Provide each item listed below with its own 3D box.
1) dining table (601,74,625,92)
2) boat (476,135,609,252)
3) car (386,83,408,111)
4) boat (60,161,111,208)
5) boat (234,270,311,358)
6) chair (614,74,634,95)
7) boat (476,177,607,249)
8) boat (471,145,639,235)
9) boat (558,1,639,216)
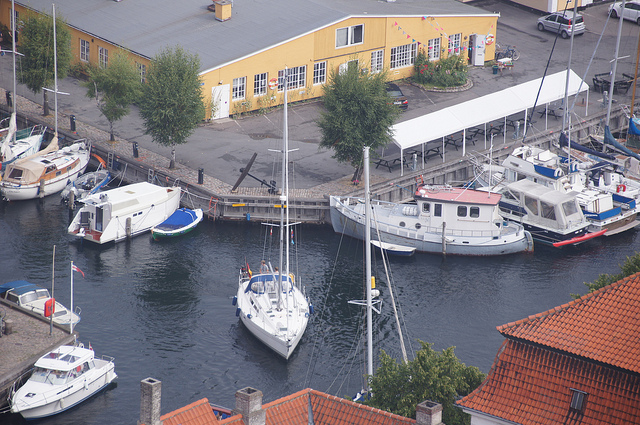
[{"bbox_3d":[28.186,-12.598,139.446,1.430,0.417,1.563,-15,31,-21],"label":"dining table"},{"bbox_3d":[13.693,0.834,119.064,17.094,5.295,6.618,12,-17,-23],"label":"boat"},{"bbox_3d":[7.164,-10.735,133.900,1.674,2.352,4.949,-2,9,4],"label":"car"},{"bbox_3d":[-19.719,-1.763,122.277,2.351,1.829,4.276,23,52,20],"label":"boat"},{"bbox_3d":[-3.471,7.806,107.375,3.623,4.982,8.022,-13,37,-16],"label":"boat"},{"bbox_3d":[29.089,-12.666,139.131,1.530,1.010,2.230,7,29,11],"label":"chair"},{"bbox_3d":[18.095,0.465,119.837,4.707,3.280,10.793,-27,45,-35],"label":"boat"},{"bbox_3d":[19.554,-1.691,122.422,6.182,5.270,13.455,-28,57,-38],"label":"boat"},{"bbox_3d":[25.030,-3.358,124.497,7.534,15.083,5.640,1,-3,43],"label":"boat"}]
